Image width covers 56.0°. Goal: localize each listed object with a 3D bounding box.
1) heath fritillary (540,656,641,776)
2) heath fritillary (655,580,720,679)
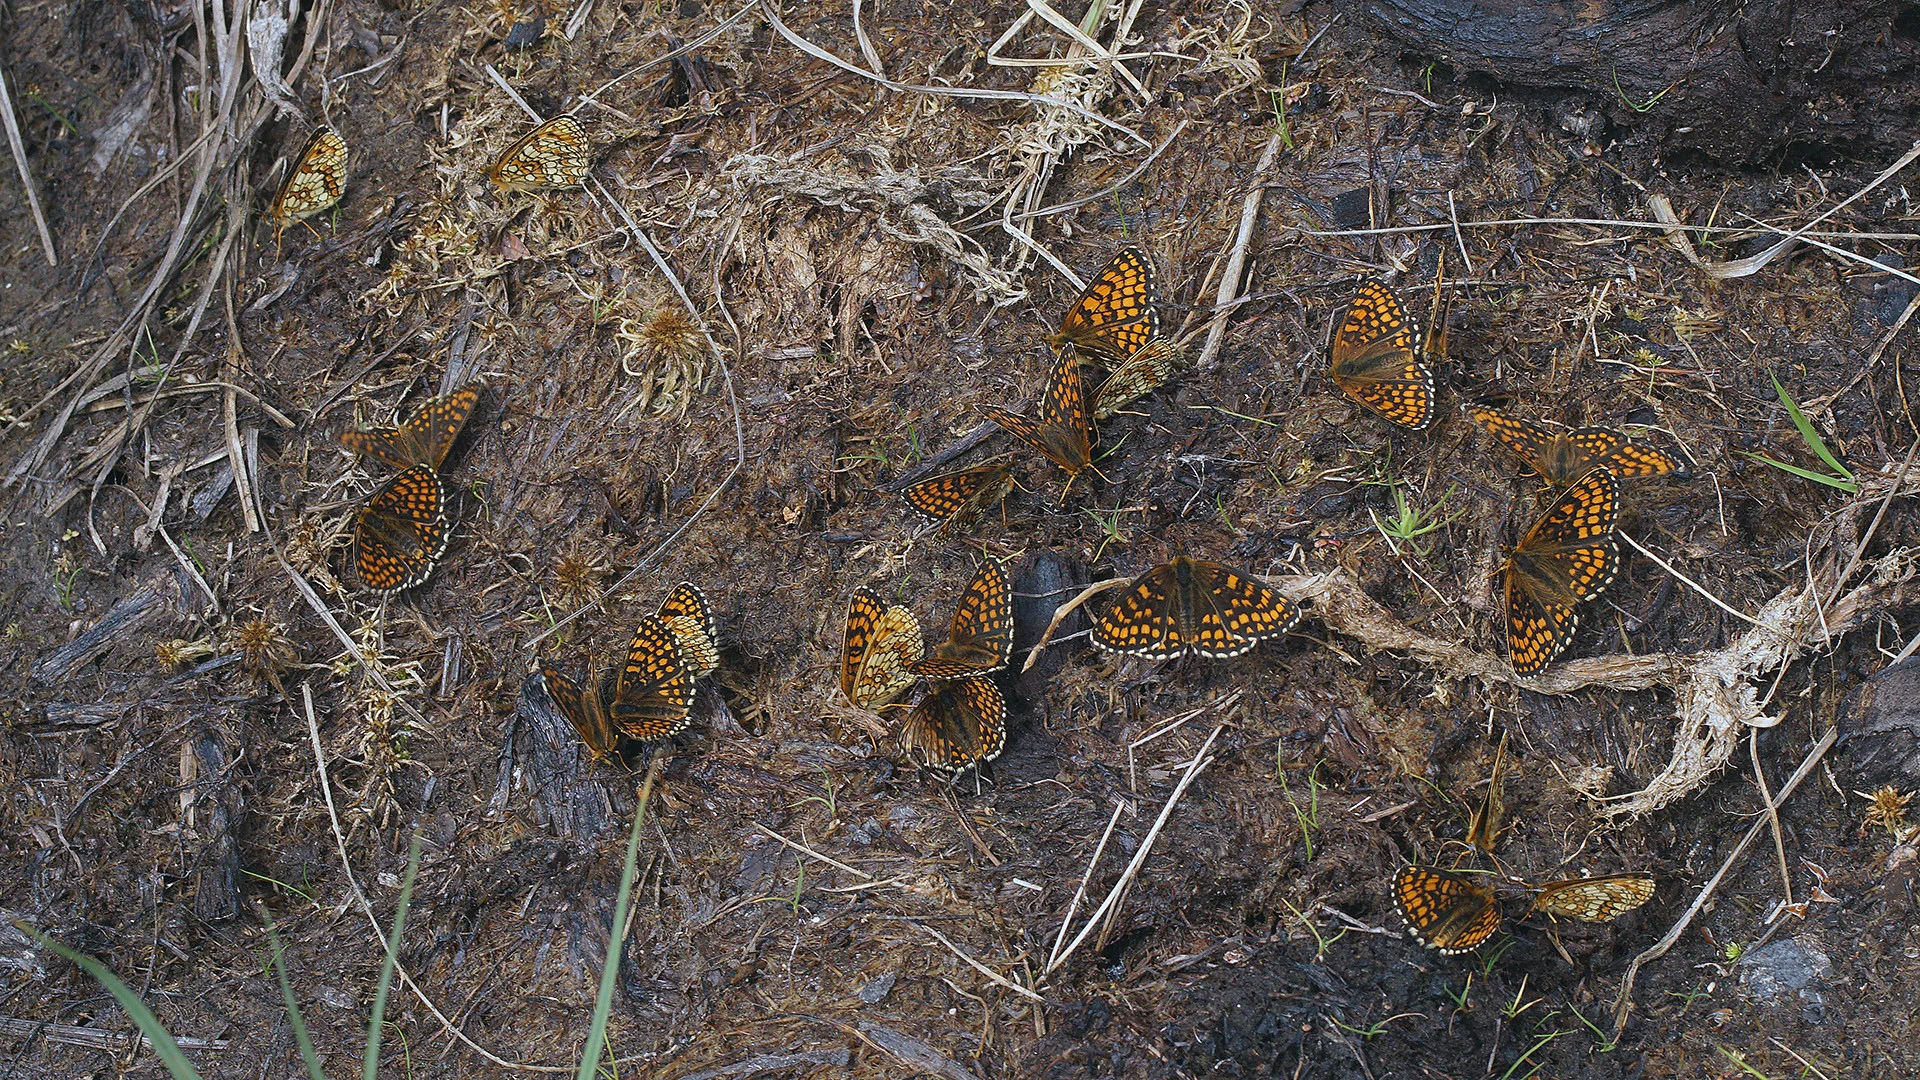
[{"bbox_3d":[-1.542,0.712,7.547,0.230,0.406,0.400,-69,138,-67],"label":"heath fritillary"},{"bbox_3d":[-1.131,0.340,7.453,0.149,0.469,0.394,3,-34,-31],"label":"heath fritillary"}]
